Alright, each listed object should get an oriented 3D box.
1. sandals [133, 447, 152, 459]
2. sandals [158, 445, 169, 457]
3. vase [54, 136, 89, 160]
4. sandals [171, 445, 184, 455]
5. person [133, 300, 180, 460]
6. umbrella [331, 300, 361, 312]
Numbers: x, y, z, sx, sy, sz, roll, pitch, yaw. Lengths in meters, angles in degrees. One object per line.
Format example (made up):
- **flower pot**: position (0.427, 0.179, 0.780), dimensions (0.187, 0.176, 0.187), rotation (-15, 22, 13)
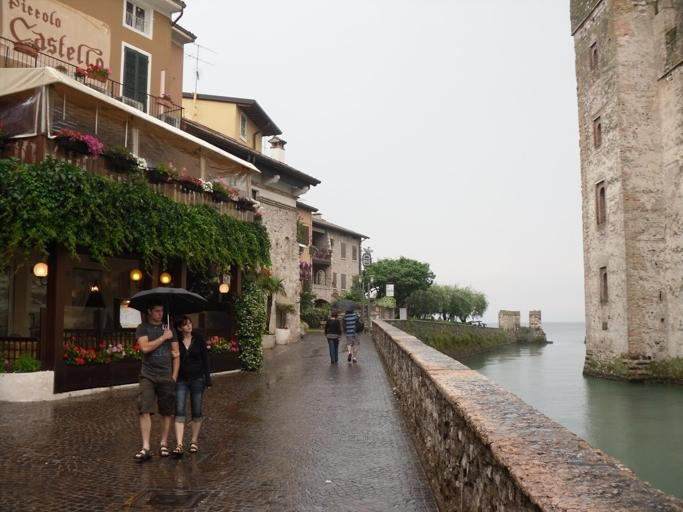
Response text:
- **sandals**: position (-3.237, 3.250, 10.130), dimensions (0.113, 0.139, 0.326), rotation (-3, -18, 0)
- **sandals**: position (-2.964, 3.268, 10.447), dimensions (0.163, 0.146, 0.271), rotation (0, -1, -17)
- **vase**: position (-6.332, -2.507, 14.721), dimensions (0.302, 0.519, 0.792), rotation (0, -1, 40)
- **sandals**: position (-2.733, 3.274, 10.397), dimensions (0.099, 0.134, 0.311), rotation (1, -24, -4)
- **person**: position (-3.089, 2.093, 10.436), dimensions (0.764, 2.416, 0.464), rotation (0, 0, -32)
- **umbrella**: position (0.147, 1.739, 21.185), dimensions (0.741, 0.267, 0.785), rotation (-1, -11, 5)
